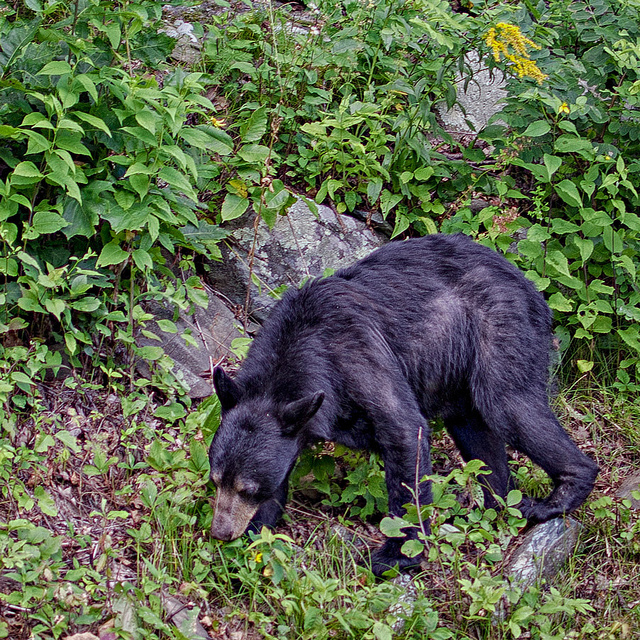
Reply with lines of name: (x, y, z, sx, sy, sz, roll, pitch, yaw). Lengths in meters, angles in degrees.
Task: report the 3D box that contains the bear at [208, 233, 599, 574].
bear: (0.178, 0.437, 3.941, 2.645, 1.593, 1.102, -15, 24, -42)
